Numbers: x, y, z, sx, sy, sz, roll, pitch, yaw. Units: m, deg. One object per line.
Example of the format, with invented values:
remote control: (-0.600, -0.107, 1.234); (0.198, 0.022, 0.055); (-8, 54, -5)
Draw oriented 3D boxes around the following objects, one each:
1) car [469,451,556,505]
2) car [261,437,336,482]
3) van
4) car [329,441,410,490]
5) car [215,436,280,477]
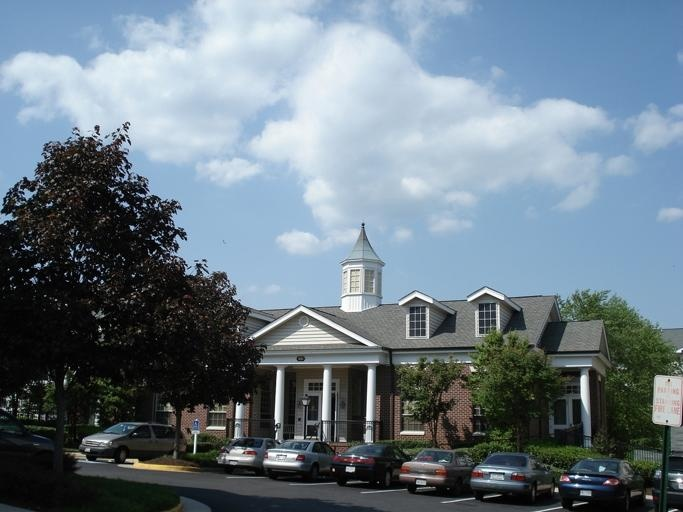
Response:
car: (6.107, 7.547, 28.424); (1.325, 1.031, 2.964); (-4, -9, 29)
car: (-1.554, 7.705, 31.366); (2.637, 1.497, 1.258); (10, -18, -37)
van: (-9.138, 8.031, 36.470); (2.084, 1.567, 4.192); (-9, -21, 35)
car: (1.334, 7.767, 30.854); (1.233, 0.991, 2.891); (-6, -12, 28)
car: (-3.686, 7.849, 32.682); (1.059, 0.841, 2.465); (-2, -8, 23)
